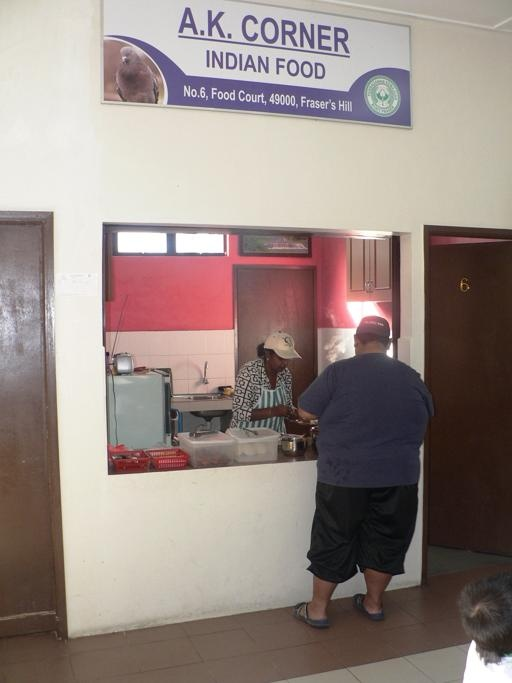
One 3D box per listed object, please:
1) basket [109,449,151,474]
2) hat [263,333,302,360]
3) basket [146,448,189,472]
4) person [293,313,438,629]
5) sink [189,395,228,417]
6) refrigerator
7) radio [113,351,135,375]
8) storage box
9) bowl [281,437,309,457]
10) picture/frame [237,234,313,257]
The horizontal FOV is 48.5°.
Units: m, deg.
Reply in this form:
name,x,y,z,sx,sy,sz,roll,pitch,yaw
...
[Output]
name,x,y,z,sx,sy,sz,roll,pitch,yaw
basket,-0.642,0.601,2.892,0.202,0.062,0.422,1,-3,-15
hat,0.165,0.026,3.474,0.137,0.112,0.210,-1,16,-45
basket,-0.449,0.598,2.906,0.217,0.070,0.309,1,-3,-15
person,0.519,0.613,2.716,0.652,1.483,0.344,0,-3,3
sink,-0.462,0.676,5.824,0.439,0.229,0.367,1,-3,-12
refrigerator,-0.775,0.447,3.975,0.515,0.709,0.395,-1,5,-14
radio,-0.909,0.141,3.906,0.127,0.154,0.139,1,-5,-9
storage box,-0.135,0.558,3.010,0.345,0.118,0.225,-1,0,-18
bowl,0.206,0.570,3.098,0.092,0.088,0.126,-6,-8,38
picture/frame,0.220,-1.071,6.454,0.871,0.250,0.085,1,-3,-18
